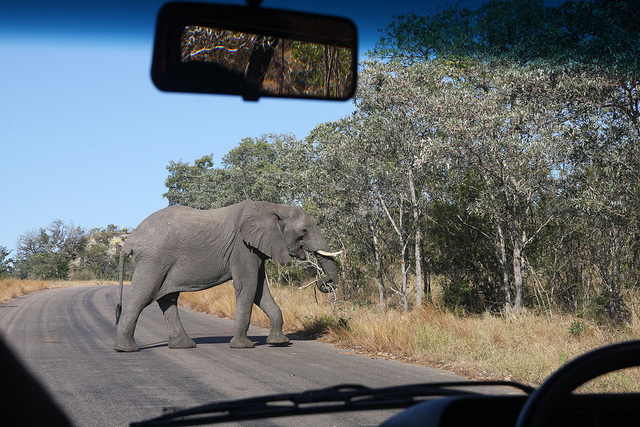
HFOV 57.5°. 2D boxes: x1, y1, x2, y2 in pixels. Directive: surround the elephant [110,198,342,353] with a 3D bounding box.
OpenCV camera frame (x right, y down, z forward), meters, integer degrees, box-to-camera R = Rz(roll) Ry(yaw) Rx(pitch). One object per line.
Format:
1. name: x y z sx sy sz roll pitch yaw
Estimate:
1. elephant: -2.275 1.466 14.174 5.087 3.834 1.721 1 6 -12
